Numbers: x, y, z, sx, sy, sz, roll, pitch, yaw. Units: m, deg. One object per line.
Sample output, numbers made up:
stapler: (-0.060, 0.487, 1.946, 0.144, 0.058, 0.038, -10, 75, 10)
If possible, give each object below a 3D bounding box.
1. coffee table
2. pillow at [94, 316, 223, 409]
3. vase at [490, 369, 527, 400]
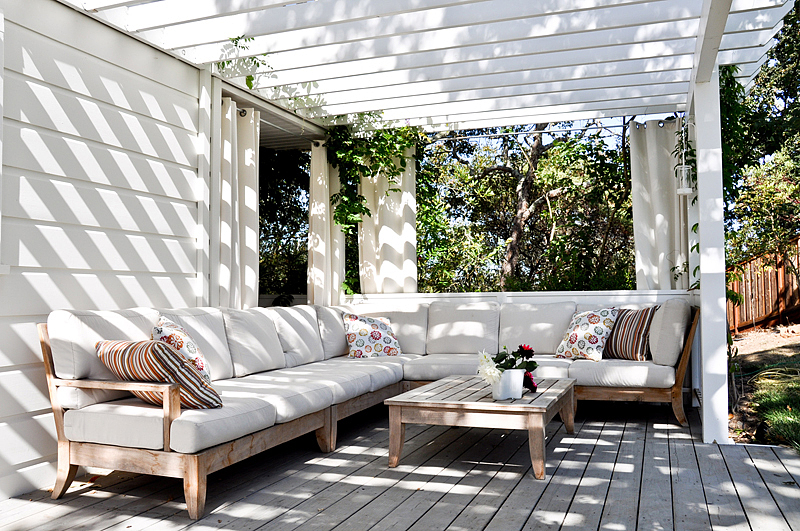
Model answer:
coffee table: (0.694, 1.223, 4.649, 1.410, 0.517, 1.162, -1, 2, 15)
pillow: (-1.629, 0.674, 3.883, 0.849, 0.537, 0.430, 0, 3, 22)
vase: (0.821, 0.875, 4.273, 0.230, 0.181, 0.182, 1, -3, -42)
